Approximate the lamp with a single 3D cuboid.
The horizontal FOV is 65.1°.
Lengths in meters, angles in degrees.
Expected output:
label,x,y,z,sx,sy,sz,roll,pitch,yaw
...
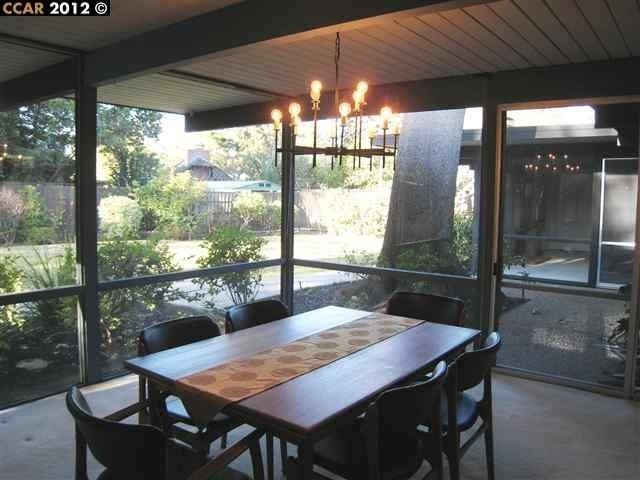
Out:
label,x,y,z,sx,sy,sz,roll,pitch,yaw
lamp,0.314,-1.088,4.020,0.827,1.023,0.798,14,1,-24
